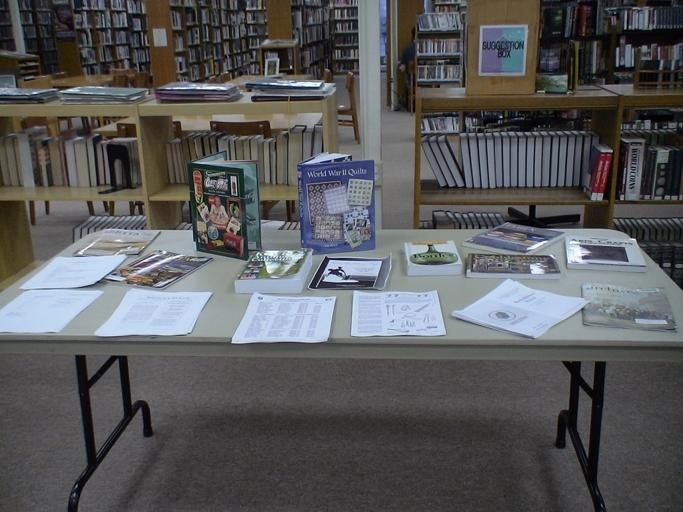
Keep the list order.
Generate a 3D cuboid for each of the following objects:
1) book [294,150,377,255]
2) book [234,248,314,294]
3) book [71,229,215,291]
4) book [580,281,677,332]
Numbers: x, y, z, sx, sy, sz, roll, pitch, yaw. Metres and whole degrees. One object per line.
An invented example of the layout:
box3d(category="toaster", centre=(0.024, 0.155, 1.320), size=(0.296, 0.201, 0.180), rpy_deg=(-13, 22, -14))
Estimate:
box3d(category="book", centre=(0.042, -0.256, 2.273), size=(0.402, 0.456, 0.355), rpy_deg=(5, 21, 23))
box3d(category="book", centre=(-0.252, 0.051, 1.978), size=(0.242, 0.087, 0.286), rpy_deg=(-1, 19, 6))
box3d(category="book", centre=(-0.728, 0.043, 2.072), size=(0.315, 0.037, 0.309), rpy_deg=(6, 21, 23))
box3d(category="book", centre=(0.926, 0.166, 1.681), size=(0.173, 0.026, 0.183), rpy_deg=(4, 24, 11))
